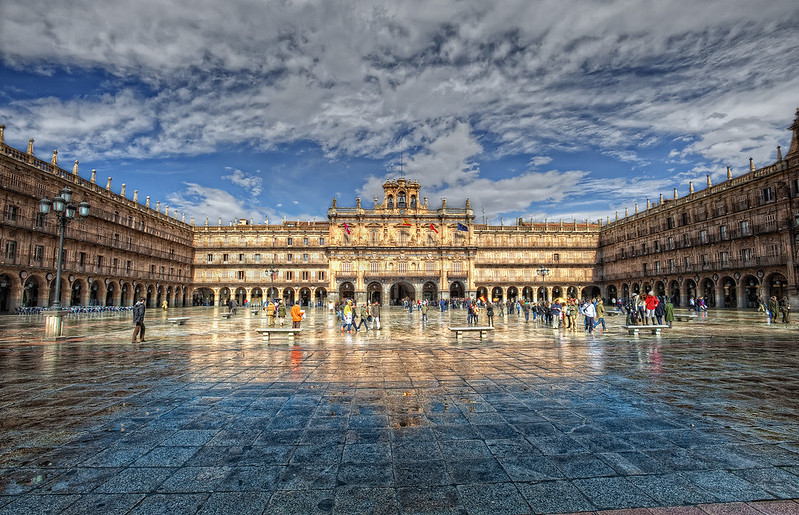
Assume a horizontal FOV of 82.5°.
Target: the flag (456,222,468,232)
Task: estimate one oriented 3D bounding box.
[{"bbox_3d":[6.935,-3.339,50.902,1.761,1.129,0.140,1,-2,-16],"label":"flag"}]
